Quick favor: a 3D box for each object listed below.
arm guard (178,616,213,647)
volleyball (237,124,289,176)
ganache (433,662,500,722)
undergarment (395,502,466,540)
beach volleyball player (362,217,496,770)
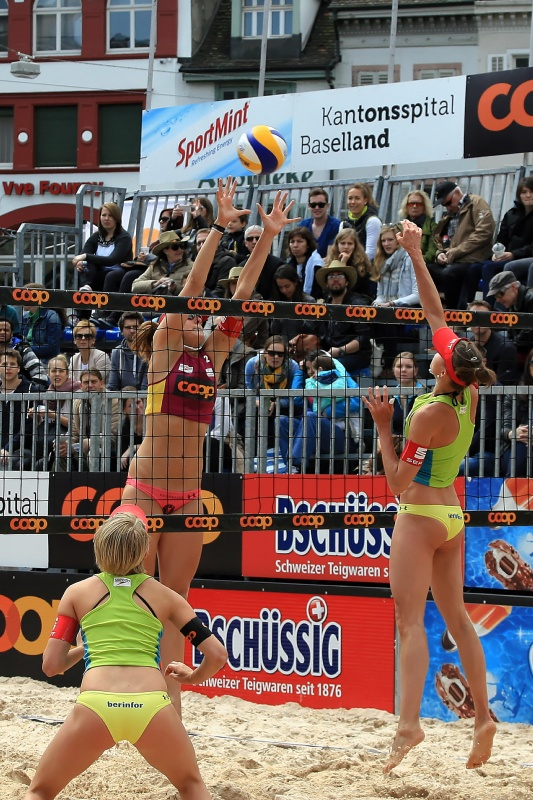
[{"bbox_3d":[-0.258,0.819,4.037,0.084,0.090,0.117,-38,2,-9],"label":"arm guard"},{"bbox_3d":[-0.023,-1.357,5.951,0.238,0.297,0.267,0,-2,10],"label":"volleyball"},{"bbox_3d":[1.090,1.672,6.344,0.204,0.366,0.112,-38,-27,6],"label":"ganache"},{"bbox_3d":[0.743,0.494,4.917,0.245,0.102,0.175,0,-1,25],"label":"undergarment"},{"bbox_3d":[0.711,0.641,4.886,0.556,1.955,0.431,0,-2,10],"label":"beach volleyball player"}]
